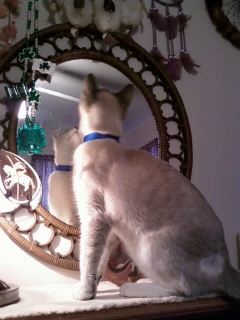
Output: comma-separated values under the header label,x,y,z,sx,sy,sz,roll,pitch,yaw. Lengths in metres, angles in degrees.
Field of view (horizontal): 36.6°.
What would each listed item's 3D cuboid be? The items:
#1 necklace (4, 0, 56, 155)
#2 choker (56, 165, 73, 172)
label,x,y,z,sx,sy,sz,roll,pitch,yaw
necklace,-0.252,-0.244,1.047,0.129,0.454,0.165,7,7,-6
choker,-0.155,0.024,1.014,0.032,0.009,0.022,2,-6,20
